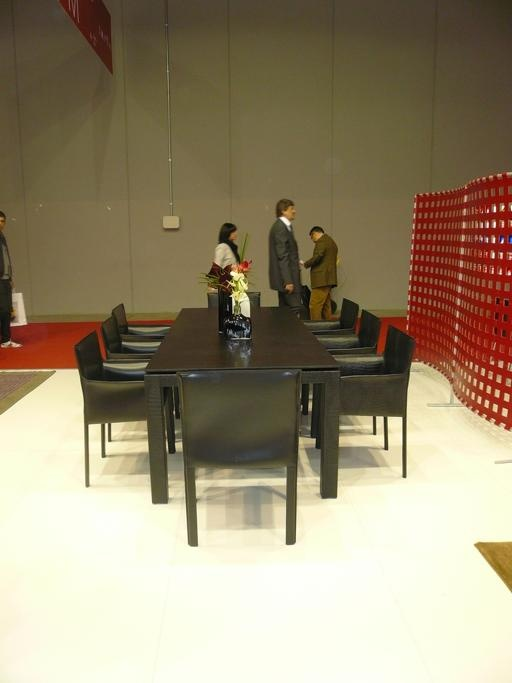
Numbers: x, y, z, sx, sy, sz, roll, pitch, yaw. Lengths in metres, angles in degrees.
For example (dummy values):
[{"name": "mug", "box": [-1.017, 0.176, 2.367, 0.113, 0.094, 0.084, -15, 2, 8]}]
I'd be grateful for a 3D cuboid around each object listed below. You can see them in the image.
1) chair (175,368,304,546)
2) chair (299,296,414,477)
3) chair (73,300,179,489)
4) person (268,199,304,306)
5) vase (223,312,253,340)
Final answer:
[{"name": "chair", "box": [-0.066, 0.368, 2.000, 0.466, 0.851, 0.528, 0, 19, -1]}, {"name": "chair", "box": [0.603, 0.141, 3.136, 0.664, 1.012, 0.732, 1, 4, -4]}, {"name": "chair", "box": [-0.698, 0.234, 3.055, 0.671, 1.039, 0.758, -1, 13, -8]}, {"name": "person", "box": [0.300, -0.862, 5.548, 0.336, 1.158, 0.284, 0, 8, 4]}, {"name": "vase", "box": [-0.102, -0.086, 2.990, 0.131, 0.141, 0.141, 1, 6, -3]}]
